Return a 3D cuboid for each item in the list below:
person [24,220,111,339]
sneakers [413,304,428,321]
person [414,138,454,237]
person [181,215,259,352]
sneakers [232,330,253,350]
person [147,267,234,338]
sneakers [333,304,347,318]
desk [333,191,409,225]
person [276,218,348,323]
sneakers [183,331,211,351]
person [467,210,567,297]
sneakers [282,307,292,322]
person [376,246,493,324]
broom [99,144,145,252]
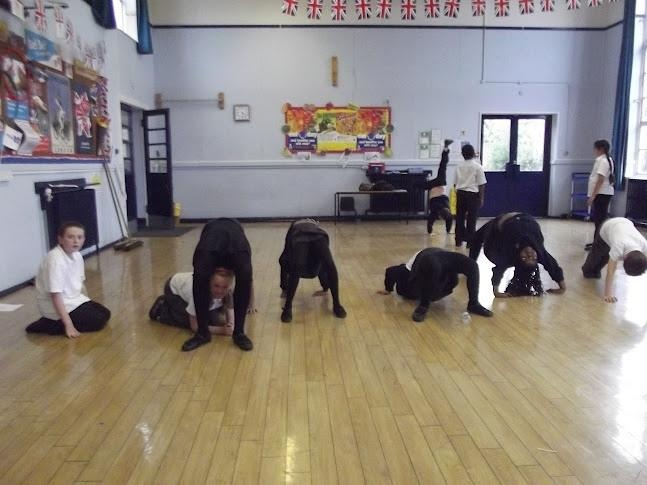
[{"bbox_3d":[-1.983,0.281,4.193,0.749,1.193,0.690,1,8,-10],"label":"person"},{"bbox_3d":[0.830,0.600,4.111,0.094,0.118,0.206,9,17,32],"label":"sneakers"},{"bbox_3d":[1.842,-0.727,7.830,0.478,1.804,0.452,-2,-23,27],"label":"person"},{"bbox_3d":[-0.775,0.325,3.551,0.524,0.917,0.468,-1,14,-3],"label":"person"},{"bbox_3d":[-0.587,0.727,3.541,0.080,0.080,0.171,-12,17,-32],"label":"sneakers"},{"bbox_3d":[-1.047,0.467,3.836,0.712,0.470,0.401,6,7,43],"label":"person"},{"bbox_3d":[0.141,0.613,4.182,0.127,0.142,0.064,2,1,41],"label":"sneakers"},{"bbox_3d":[0.979,-0.733,10.246,1.461,0.831,0.616,0,8,2],"label":"desk"},{"bbox_3d":[-0.102,0.199,4.302,0.578,0.861,0.676,-2,14,-5],"label":"person"},{"bbox_3d":[-0.930,0.730,3.568,0.087,0.096,0.216,16,18,36],"label":"sneakers"},{"bbox_3d":[1.857,0.082,4.700,0.560,0.540,1.084,-11,11,2],"label":"person"},{"bbox_3d":[-0.309,0.627,4.079,0.056,0.135,0.128,3,1,-2],"label":"sneakers"},{"bbox_3d":[0.984,0.356,4.234,0.471,0.353,0.798,-4,0,-14],"label":"person"},{"bbox_3d":[-3.018,-0.604,7.211,0.426,1.334,0.913,-7,15,-24],"label":"broom"}]
